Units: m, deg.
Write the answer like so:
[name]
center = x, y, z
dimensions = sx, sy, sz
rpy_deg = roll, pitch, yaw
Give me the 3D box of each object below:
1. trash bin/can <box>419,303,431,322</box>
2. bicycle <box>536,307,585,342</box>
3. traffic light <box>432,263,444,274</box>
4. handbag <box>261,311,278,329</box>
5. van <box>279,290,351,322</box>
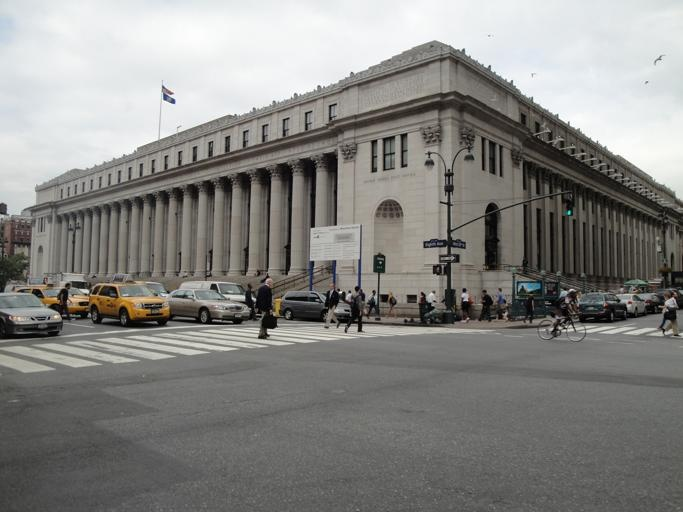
[trash bin/can]
center = 4.223, 2.902, 33.086
dimensions = 0.735, 1.016, 0.812
rpy_deg = -2, -6, 19
[bicycle]
center = 7.783, 2.531, 22.663
dimensions = 1.542, 0.945, 1.310
rpy_deg = -3, -7, 25
[traffic light]
center = 5.063, 0.667, 33.554
dimensions = 0.589, 0.321, 0.866
rpy_deg = 0, -3, 5
[handbag]
center = -2.423, 2.115, 21.262
dimensions = 0.465, 0.513, 0.427
rpy_deg = 0, -6, 6
[van]
center = -1.591, 2.648, 33.290
dimensions = 3.289, 1.342, 1.619
rpy_deg = -8, -13, 39
